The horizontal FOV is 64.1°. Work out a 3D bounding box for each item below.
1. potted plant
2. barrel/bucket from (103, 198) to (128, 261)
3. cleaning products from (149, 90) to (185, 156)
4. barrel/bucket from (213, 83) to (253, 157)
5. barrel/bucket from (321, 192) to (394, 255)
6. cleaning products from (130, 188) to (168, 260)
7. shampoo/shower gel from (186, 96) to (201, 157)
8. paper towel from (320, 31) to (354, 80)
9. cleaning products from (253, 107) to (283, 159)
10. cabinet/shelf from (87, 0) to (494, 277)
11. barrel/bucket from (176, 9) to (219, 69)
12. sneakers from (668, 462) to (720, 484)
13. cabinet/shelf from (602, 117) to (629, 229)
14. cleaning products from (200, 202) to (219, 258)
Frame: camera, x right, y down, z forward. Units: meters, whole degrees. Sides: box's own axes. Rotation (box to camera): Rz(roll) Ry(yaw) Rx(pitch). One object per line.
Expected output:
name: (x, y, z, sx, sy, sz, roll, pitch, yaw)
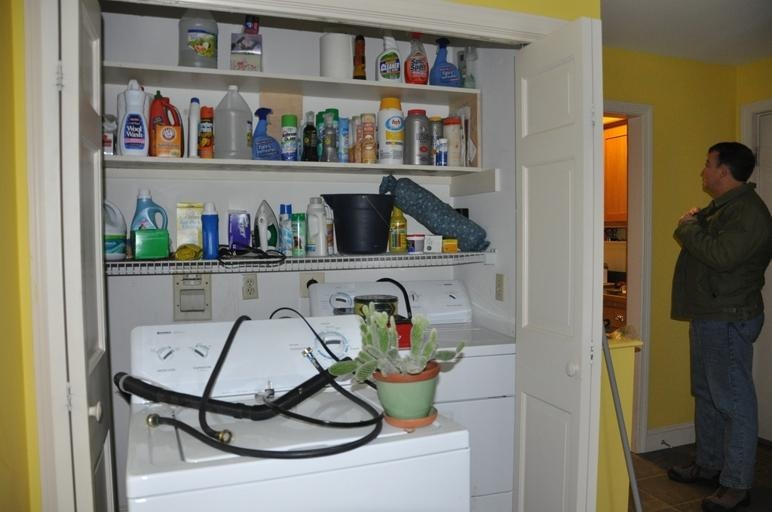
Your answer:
potted plant: (0.048, 0.398, 2.366, 0.459, 0.378, 0.455, -1, -7, -3)
barrel/bucket: (-1.220, -0.113, 2.756, 0.084, 0.267, 0.199, -5, 4, -20)
cleaning products: (-1.027, -0.608, 2.853, 0.159, 0.317, 0.121, -5, 4, -21)
barrel/bucket: (-0.731, -0.638, 2.917, 0.185, 0.360, 0.105, -5, 4, -23)
barrel/bucket: (-0.115, -0.152, 2.975, 0.286, 0.218, 0.306, 0, -3, 0)
cleaning products: (-1.104, -0.146, 2.846, 0.170, 0.324, 0.167, -5, 4, -21)
shampoo/shower gel: (-0.921, -0.607, 2.941, 0.075, 0.294, 0.224, -5, 4, -16)
paper towel: (-0.227, -0.972, 3.080, 0.222, 0.246, 0.221, 1, 5, -3)
cleaning products: (-0.584, -0.588, 2.995, 0.142, 0.265, 0.197, -4, 4, -7)
cabinet/shelf: (-0.412, -0.388, 3.147, 1.938, 0.933, 0.271, -2, -4, -21)
barrel/bucket: (-0.877, -1.001, 2.865, 0.182, 0.277, 0.118, -5, 4, -20)
sneakers: (1.898, 1.327, 3.800, 0.281, 0.112, 0.112, 3, 1, 19)
cabinet/shelf: (2.010, -0.698, 5.484, 0.172, 0.873, 0.356, -5, 4, -13)
cleaning products: (-0.834, -0.117, 2.890, 0.080, 0.259, 0.144, -5, 4, -17)
